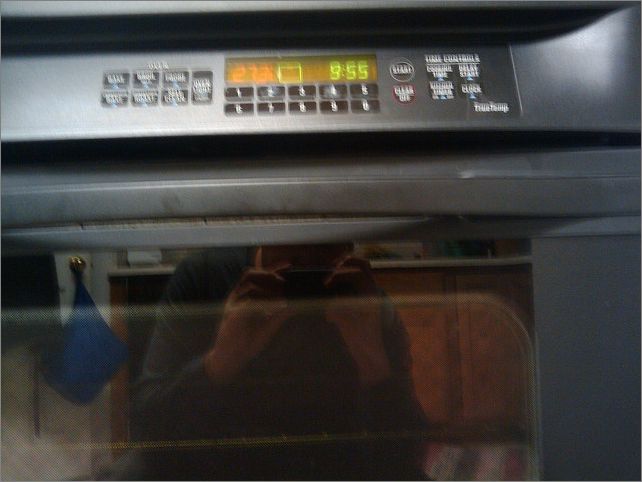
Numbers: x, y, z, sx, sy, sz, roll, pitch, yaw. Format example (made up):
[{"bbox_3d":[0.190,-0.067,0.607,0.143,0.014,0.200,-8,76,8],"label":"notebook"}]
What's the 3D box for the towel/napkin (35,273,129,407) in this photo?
[{"bbox_3d":[-0.313,0.089,0.814,0.106,0.097,0.153,-23,-32,-38],"label":"towel/napkin"}]
